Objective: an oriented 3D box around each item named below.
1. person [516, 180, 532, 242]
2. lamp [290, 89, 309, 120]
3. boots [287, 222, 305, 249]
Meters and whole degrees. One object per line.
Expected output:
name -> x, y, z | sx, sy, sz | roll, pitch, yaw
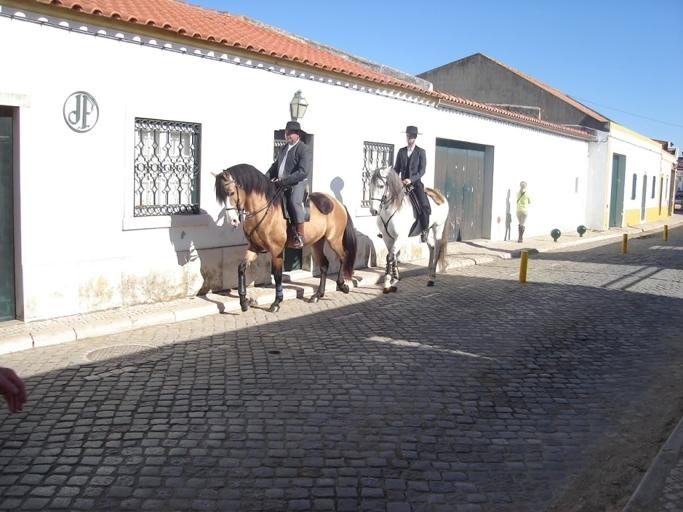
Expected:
person -> 7.269, -1.793, 21.026 | 0.490, 2.377, 1.273 | 4, 8, 19
lamp -> -0.901, -3.406, 11.728 | 0.303, 0.714, 0.509 | 5, 9, 28
boots -> -0.889, -0.392, 10.013 | 0.451, 0.497, 0.244 | -1, 0, -38
